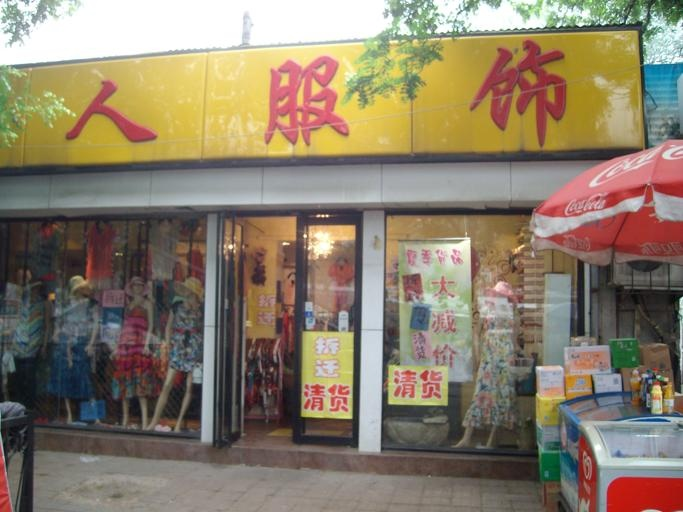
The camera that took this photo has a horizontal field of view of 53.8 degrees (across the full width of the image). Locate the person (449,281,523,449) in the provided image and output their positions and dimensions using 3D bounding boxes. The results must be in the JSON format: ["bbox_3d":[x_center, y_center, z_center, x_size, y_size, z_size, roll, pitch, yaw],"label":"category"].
[{"bbox_3d":[1.906,1.349,8.517,0.617,2.021,0.480,1,8,15],"label":"person"}]

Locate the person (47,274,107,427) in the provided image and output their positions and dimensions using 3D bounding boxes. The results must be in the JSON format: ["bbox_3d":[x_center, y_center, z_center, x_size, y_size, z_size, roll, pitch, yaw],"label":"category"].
[{"bbox_3d":[-3.832,1.299,9.608,0.710,1.993,0.469,3,9,25],"label":"person"}]

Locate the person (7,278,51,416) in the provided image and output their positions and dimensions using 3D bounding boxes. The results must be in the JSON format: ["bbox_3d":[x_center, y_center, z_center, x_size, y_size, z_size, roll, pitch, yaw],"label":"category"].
[{"bbox_3d":[-4.576,1.241,9.789,0.573,1.836,0.431,2,9,25],"label":"person"}]

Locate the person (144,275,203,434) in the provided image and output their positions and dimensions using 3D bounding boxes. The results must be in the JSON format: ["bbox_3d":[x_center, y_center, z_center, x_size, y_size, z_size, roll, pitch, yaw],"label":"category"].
[{"bbox_3d":[-2.263,1.306,9.304,0.745,2.033,0.359,-3,8,-12],"label":"person"}]
